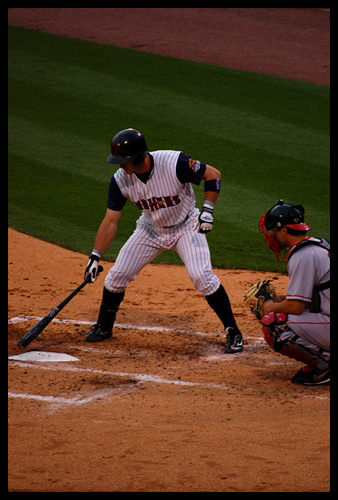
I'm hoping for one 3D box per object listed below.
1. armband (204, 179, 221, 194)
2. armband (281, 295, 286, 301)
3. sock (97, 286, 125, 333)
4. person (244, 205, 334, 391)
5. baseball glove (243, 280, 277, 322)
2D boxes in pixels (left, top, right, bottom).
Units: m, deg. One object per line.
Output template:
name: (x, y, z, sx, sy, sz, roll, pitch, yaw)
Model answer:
armband: (0.325, -0.471, 4.241, 0.110, 0.090, 0.107, 19, 9, 27)
armband: (0.825, 0.345, 4.073, 0.042, 0.035, 0.029, 5, -18, 11)
sock: (-0.500, 0.488, 4.569, 0.166, 0.391, 0.153, 20, -17, -29)
person: (0.799, 0.302, 3.647, 0.354, 1.156, 0.605, -4, 14, -13)
baseball glove: (0.631, 0.363, 3.899, 0.214, 0.261, 0.298, 2, 13, 10)
